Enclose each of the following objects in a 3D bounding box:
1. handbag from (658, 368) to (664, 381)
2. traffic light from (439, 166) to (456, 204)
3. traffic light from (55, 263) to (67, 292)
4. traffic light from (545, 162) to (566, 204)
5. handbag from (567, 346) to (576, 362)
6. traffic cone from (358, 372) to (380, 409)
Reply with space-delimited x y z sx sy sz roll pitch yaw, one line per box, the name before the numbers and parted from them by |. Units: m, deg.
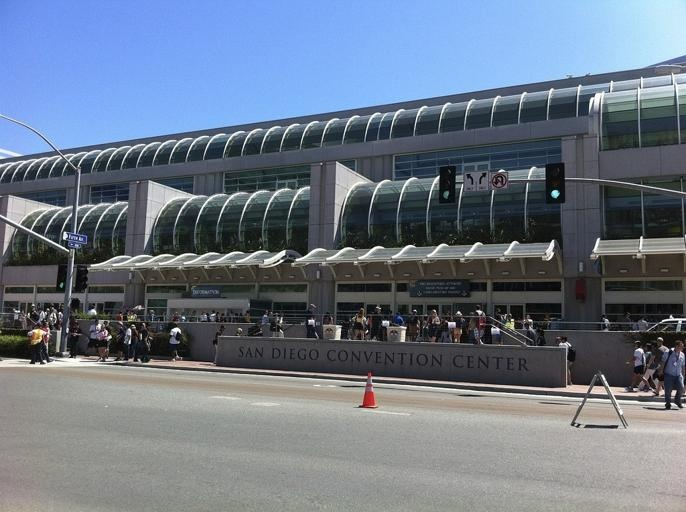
handbag | 11.505 4.347 26.300 0.123 0.453 0.987 -3 -9 24
traffic light | 3.673 -2.545 25.692 0.476 1.421 0.524 0 -8 3
traffic light | -13.862 1.103 35.755 0.417 1.358 0.842 4 -9 -21
traffic light | 7.255 -2.508 24.815 0.585 1.429 0.796 -1 -8 13
handbag | 8.906 3.850 28.373 0.245 0.548 0.542 -2 -9 20
traffic cone | 0.709 3.749 20.211 0.823 0.883 0.833 4 -6 -30
